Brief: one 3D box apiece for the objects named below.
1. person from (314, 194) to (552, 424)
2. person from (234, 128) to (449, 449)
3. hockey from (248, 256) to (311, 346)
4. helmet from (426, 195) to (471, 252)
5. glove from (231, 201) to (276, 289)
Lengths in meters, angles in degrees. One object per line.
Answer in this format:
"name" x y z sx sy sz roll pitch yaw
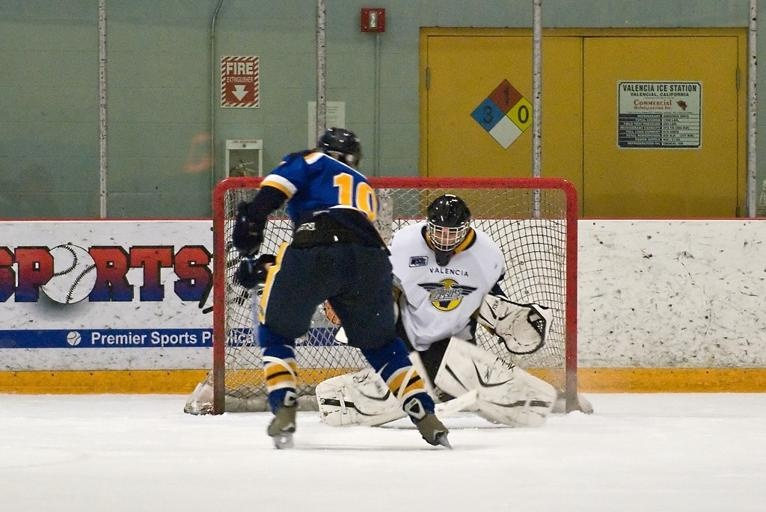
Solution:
"person" 0.424 0.401 9.508 1.838 1.538 1.038 3 22 11
"person" -0.331 0.182 9.027 1.499 2.372 1.059 8 -20 -12
"hockey" -0.702 0.264 8.783 0.484 0.527 0.232 7 -5 -25
"helmet" 0.465 -0.224 9.324 0.313 0.360 0.395 5 28 6
"glove" -0.897 -0.059 9.021 0.406 0.545 0.216 7 5 14
